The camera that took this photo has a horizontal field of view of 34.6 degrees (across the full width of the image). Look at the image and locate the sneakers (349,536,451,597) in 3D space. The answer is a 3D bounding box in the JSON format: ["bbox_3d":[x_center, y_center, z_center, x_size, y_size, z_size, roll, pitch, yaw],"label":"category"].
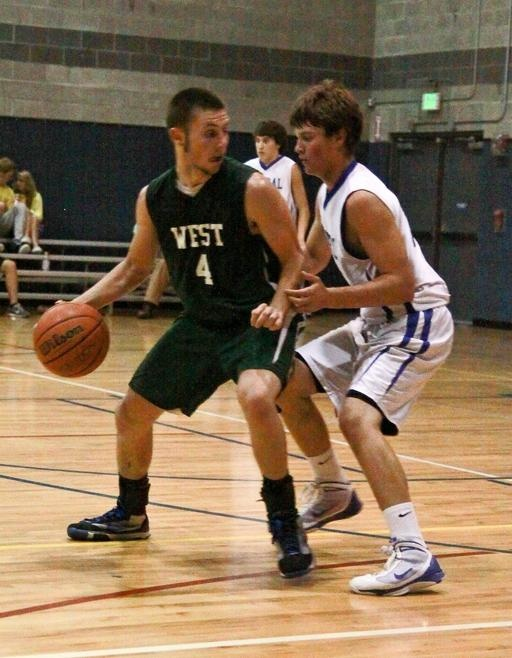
[{"bbox_3d":[0.327,0.543,1.906,0.289,0.150,0.090,-1,-4,-1],"label":"sneakers"}]

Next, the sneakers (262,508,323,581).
[{"bbox_3d":[0.085,0.522,1.969,0.108,0.131,0.129,0,12,-1],"label":"sneakers"}]

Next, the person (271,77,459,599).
[{"bbox_3d":[0.282,0.005,2.044,0.444,1.250,0.729,1,13,1],"label":"person"}]

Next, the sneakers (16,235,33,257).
[{"bbox_3d":[-2.442,-0.883,8.638,0.099,0.221,0.151,3,40,-14],"label":"sneakers"}]

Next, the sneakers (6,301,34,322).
[{"bbox_3d":[-2.443,-0.187,8.491,0.340,0.135,0.134,3,5,43],"label":"sneakers"}]

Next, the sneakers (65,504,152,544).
[{"bbox_3d":[-0.398,0.545,2.292,0.266,0.090,0.085,3,-4,-13],"label":"sneakers"}]

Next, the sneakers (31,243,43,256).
[{"bbox_3d":[-2.347,-0.848,8.708,0.080,0.124,0.194,-1,-24,-15],"label":"sneakers"}]
